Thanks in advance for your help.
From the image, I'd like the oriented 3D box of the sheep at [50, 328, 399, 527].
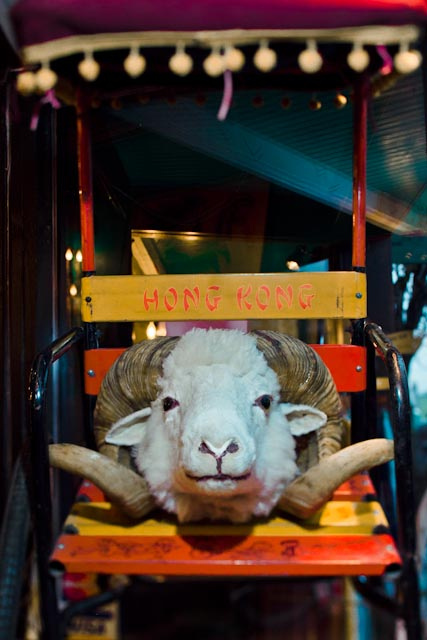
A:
[{"bbox_3d":[0.028,0.257,1.626,0.706,0.465,0.541,0,7,6],"label":"sheep"}]
